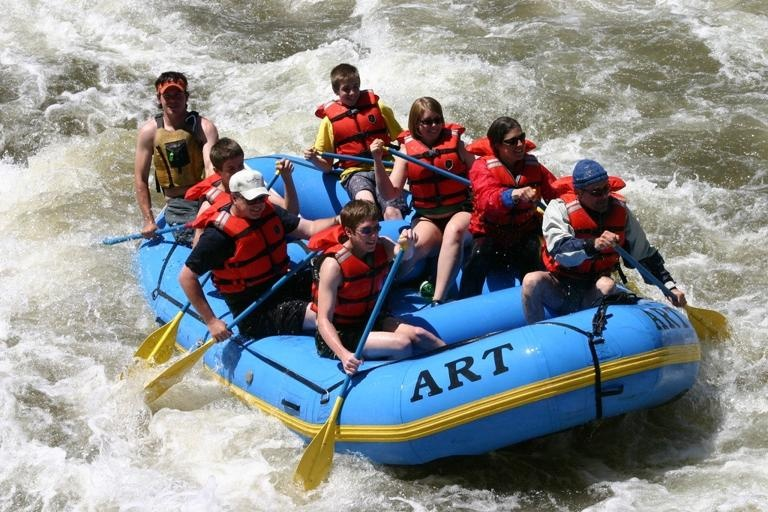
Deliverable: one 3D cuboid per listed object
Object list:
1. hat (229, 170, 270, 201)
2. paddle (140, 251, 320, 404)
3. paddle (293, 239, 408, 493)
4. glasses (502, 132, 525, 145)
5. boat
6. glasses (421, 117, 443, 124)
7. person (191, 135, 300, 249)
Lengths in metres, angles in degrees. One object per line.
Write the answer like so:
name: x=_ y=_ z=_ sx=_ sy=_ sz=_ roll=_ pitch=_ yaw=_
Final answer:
hat: x=-1.278 y=-0.699 z=9.163 sx=0.336 sy=0.231 sz=0.482 roll=-12 pitch=20 yaw=-28
paddle: x=-1.442 y=0.730 z=9.414 sx=2.120 sy=0.189 sz=0.322 roll=-40 pitch=88 yaw=-4
paddle: x=-0.289 y=1.141 z=9.480 sx=0.127 sy=0.614 sz=3.439 roll=38 pitch=38 yaw=-14
glasses: x=1.258 y=-1.125 z=9.244 sx=0.224 sy=0.105 sz=0.091 roll=-14 pitch=41 yaw=-17
boat: x=0.339 y=0.848 z=9.253 sx=4.727 sy=1.237 sz=2.305 roll=19 pitch=42 yaw=22
glasses: x=0.477 y=-1.347 z=9.652 sx=0.211 sy=0.076 sz=0.048 roll=-7 pitch=40 yaw=-9
person: x=-1.437 y=-0.757 z=9.779 sx=0.935 sy=0.729 sz=1.200 roll=-11 pitch=31 yaw=-21
